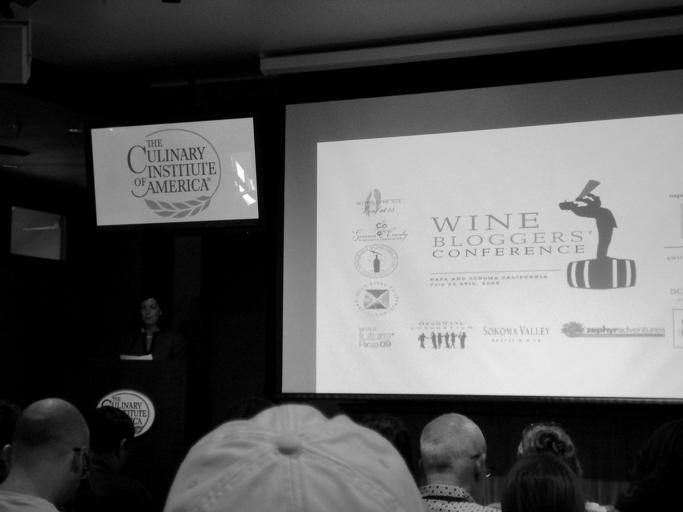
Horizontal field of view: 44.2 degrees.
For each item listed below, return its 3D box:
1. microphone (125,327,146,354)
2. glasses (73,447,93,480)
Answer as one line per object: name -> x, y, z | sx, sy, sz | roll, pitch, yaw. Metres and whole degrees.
microphone -> -1.570, 0.656, 6.415 | 0.152, 0.235, 0.121 | 0, -22, -1
glasses -> -1.303, 1.032, 4.222 | 0.069, 0.155, 0.176 | 2, -6, -9
